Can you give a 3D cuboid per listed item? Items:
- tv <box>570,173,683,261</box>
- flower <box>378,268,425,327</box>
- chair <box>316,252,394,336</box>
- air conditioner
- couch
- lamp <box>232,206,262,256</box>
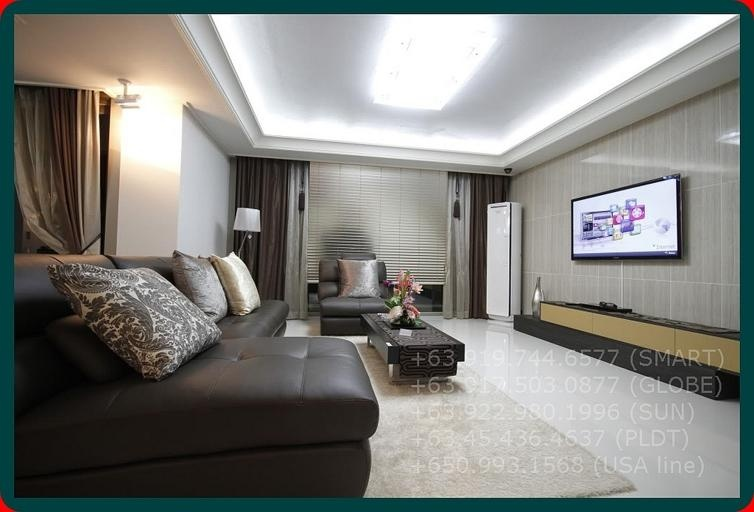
[{"bbox_3d":[2.701,-0.384,5.080,0.180,0.912,1.337,-1,5,-21],"label":"tv"},{"bbox_3d":[0.311,0.441,4.691,0.500,0.626,0.497,-3,-6,36],"label":"flower"},{"bbox_3d":[-0.294,0.483,5.933,0.895,0.913,0.953,1,-6,-5],"label":"chair"},{"bbox_3d":[1.847,0.087,6.826,0.500,1.729,0.432,3,6,16],"label":"air conditioner"},{"bbox_3d":[-1.288,0.887,3.962,2.287,1.447,2.977,0,-3,-4],"label":"couch"},{"bbox_3d":[-1.774,-0.335,6.346,0.303,0.686,0.566,0,5,-15],"label":"lamp"}]
